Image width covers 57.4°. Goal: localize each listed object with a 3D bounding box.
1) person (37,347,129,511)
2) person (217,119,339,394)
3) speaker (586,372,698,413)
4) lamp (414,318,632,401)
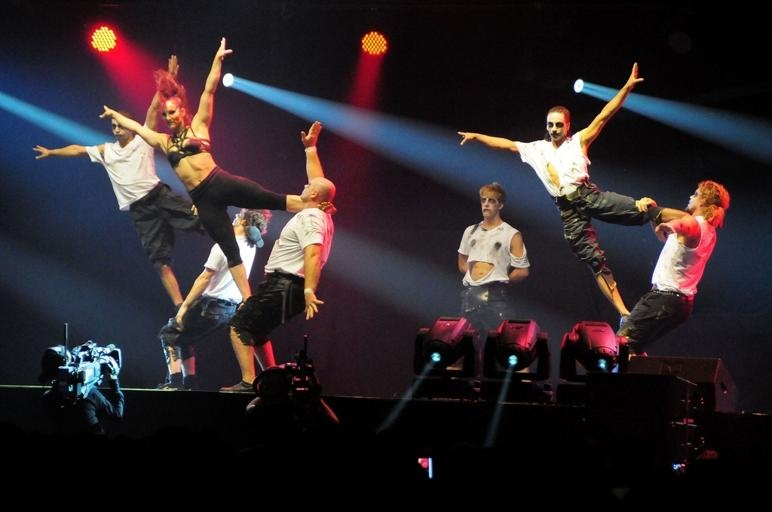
[{"bbox_3d":[-2.675,1.335,6.086,0.773,1.237,1.315,13,-14,-17],"label":"person"},{"bbox_3d":[-1.069,-0.061,7.707,0.909,3.127,0.697,10,-14,-5],"label":"person"},{"bbox_3d":[1.948,1.059,5.505,0.480,0.195,0.460,5,-8,-27],"label":"speaker"},{"bbox_3d":[1.134,0.884,6.037,1.811,0.695,0.679,-1,4,8],"label":"lamp"}]
